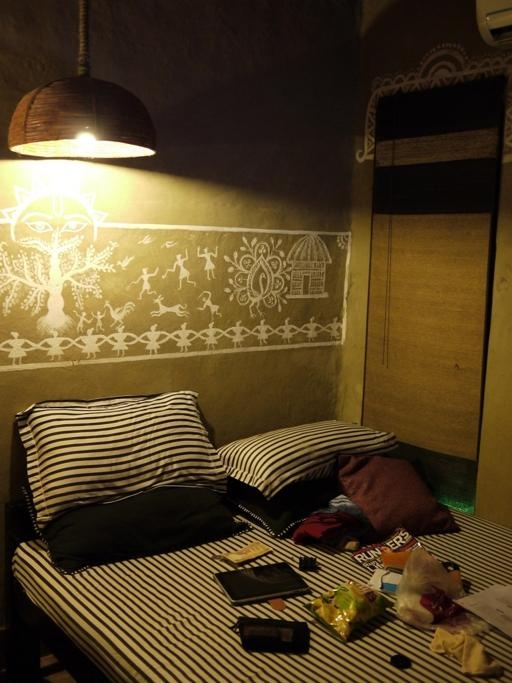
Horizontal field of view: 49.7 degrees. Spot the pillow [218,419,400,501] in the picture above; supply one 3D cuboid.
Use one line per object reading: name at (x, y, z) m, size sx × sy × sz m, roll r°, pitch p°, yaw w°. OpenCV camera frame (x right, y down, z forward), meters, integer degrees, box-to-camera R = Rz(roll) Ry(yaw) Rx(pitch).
pillow at (0.223, 0.470, 2.374) m, size 0.525 × 0.150 × 0.341 m, roll -10°, pitch 7°, yaw -33°
